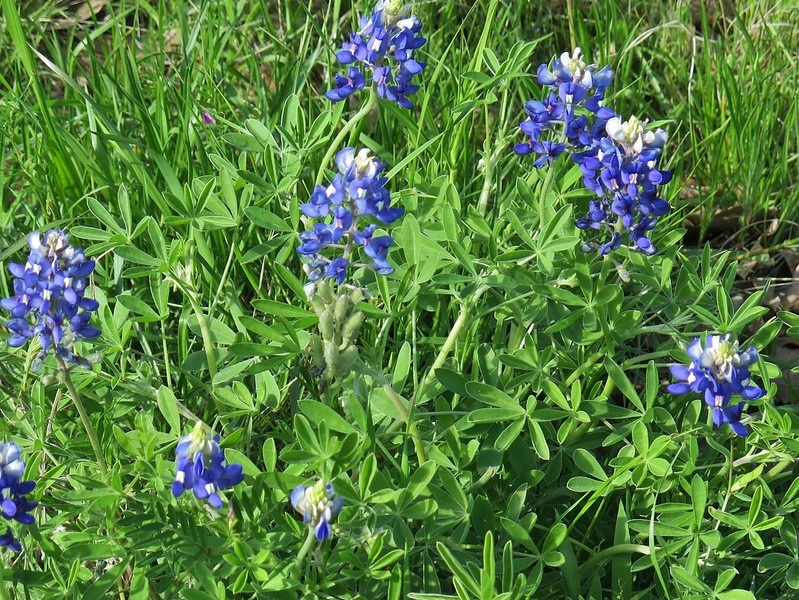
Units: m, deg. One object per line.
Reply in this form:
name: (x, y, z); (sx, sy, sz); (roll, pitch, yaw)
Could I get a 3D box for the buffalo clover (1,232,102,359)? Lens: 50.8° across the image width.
buffalo clover: (-1.250, -0.001, 3.036); (0.214, 0.403, 0.258); (-13, 67, -20)

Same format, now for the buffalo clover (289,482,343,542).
buffalo clover: (-0.255, 0.661, 2.611); (0.122, 0.231, 0.146); (15, 17, 21)

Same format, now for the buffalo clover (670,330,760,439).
buffalo clover: (1.148, 0.313, 3.062); (0.225, 0.293, 0.214); (-39, 61, 5)

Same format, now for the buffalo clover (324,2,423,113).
buffalo clover: (-0.094, -1.007, 3.491); (0.396, 0.514, 0.376); (0, 57, 0)

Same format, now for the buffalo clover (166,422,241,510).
buffalo clover: (-0.597, 0.509, 2.575); (0.188, 0.200, 0.176); (8, 58, 5)
